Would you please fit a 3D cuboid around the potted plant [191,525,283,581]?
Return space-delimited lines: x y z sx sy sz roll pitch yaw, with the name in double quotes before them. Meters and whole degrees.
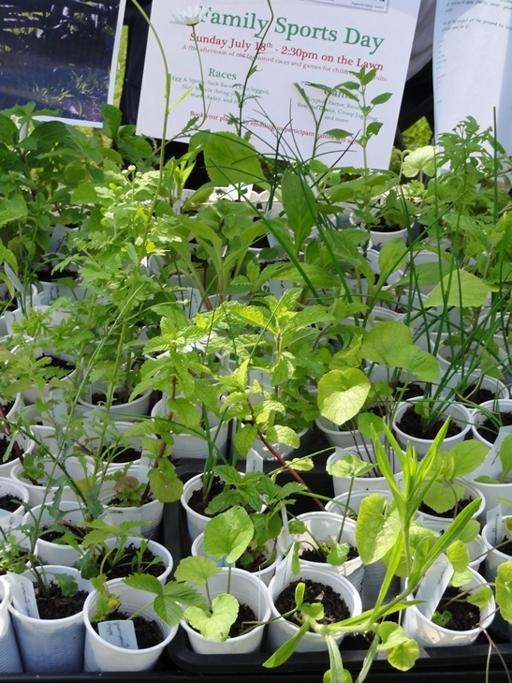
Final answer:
"potted plant" -0.023 0.259 0.635 0.087 0.057 0.081 -1 34 -3

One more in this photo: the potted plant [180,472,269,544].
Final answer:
"potted plant" -0.049 0.224 0.759 0.129 0.088 0.123 -2 39 -4

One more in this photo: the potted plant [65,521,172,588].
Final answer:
"potted plant" -0.155 0.237 0.597 0.091 0.032 0.092 6 12 -4

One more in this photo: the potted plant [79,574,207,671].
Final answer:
"potted plant" -0.134 0.294 0.594 0.123 0.090 0.124 16 24 -26

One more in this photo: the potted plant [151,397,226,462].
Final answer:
"potted plant" -0.099 0.131 0.840 0.122 0.090 0.119 -5 60 -1

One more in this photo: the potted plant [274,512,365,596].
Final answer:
"potted plant" 0.086 0.245 0.683 0.111 0.079 0.106 2 40 4
